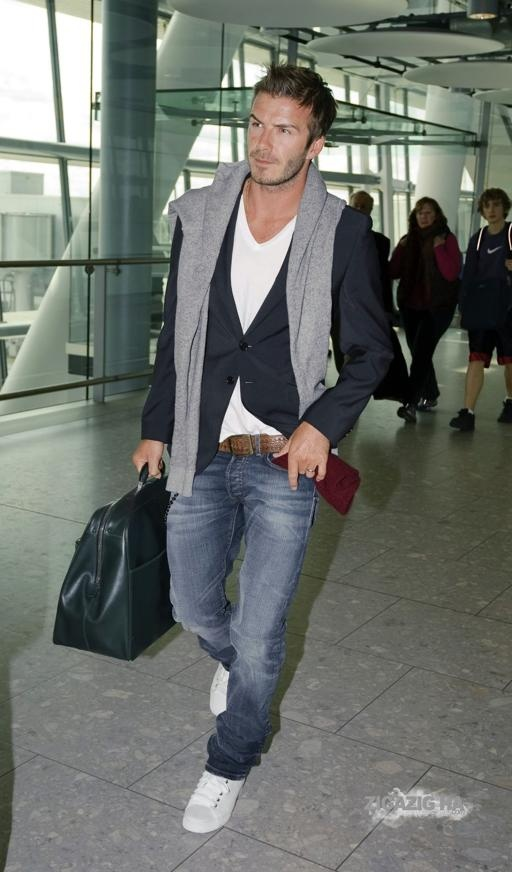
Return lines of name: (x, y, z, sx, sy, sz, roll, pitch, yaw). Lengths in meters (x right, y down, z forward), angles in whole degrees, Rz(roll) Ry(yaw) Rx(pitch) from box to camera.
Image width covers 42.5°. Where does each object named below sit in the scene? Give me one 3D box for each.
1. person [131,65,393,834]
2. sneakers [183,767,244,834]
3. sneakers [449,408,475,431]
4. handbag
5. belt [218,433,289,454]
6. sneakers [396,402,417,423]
person: (-0.010, 0.059, 1.409, 0.549, 1.535, 0.296, 5, 4, 44)
sneakers: (-0.081, 0.800, 1.443, 0.087, 0.105, 0.269, -12, -21, 16)
sneakers: (1.959, -0.161, 6.256, 0.131, 0.132, 0.311, 5, 14, 7)
handbag: (-0.332, 0.291, 1.751, 0.244, 0.435, 0.487, 7, 12, 11)
belt: (-0.011, 0.017, 1.321, 0.142, 0.048, 0.020, 4, 4, 22)
sneakers: (1.482, -0.227, 6.478, 0.076, 0.156, 0.151, -23, 19, 25)
